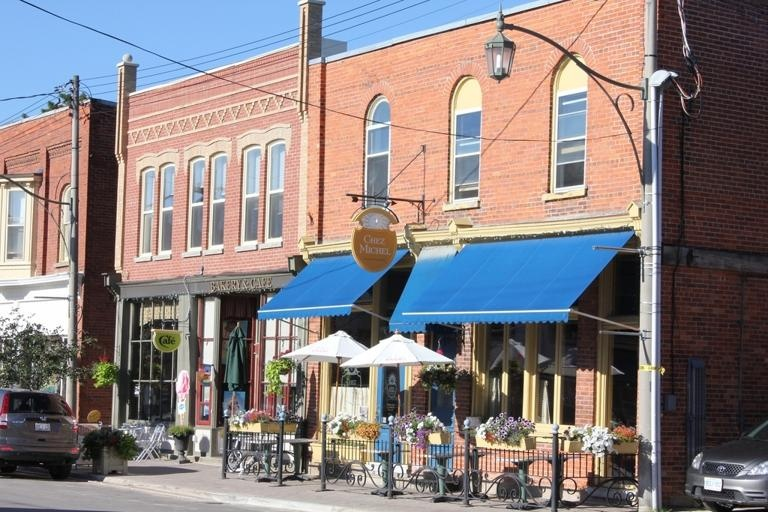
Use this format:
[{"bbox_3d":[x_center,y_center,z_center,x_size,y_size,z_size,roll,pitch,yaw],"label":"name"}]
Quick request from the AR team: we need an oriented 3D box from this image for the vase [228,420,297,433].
[{"bbox_3d":[-3.097,4.430,39.130,1.783,0.303,0.676,-7,-14,30],"label":"vase"}]

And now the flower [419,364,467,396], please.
[{"bbox_3d":[1.427,3.056,37.693,0.849,0.480,0.808,-2,1,-19],"label":"flower"}]

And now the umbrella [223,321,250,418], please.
[{"bbox_3d":[-4.143,3.244,42.593,0.885,2.536,0.771,4,5,15],"label":"umbrella"}]

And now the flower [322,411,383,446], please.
[{"bbox_3d":[-0.796,4.317,38.120,1.135,0.681,1.733,5,-13,-20],"label":"flower"}]

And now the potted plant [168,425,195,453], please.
[{"bbox_3d":[-5.709,5.220,43.214,0.768,0.735,0.734,0,-8,-4],"label":"potted plant"}]
